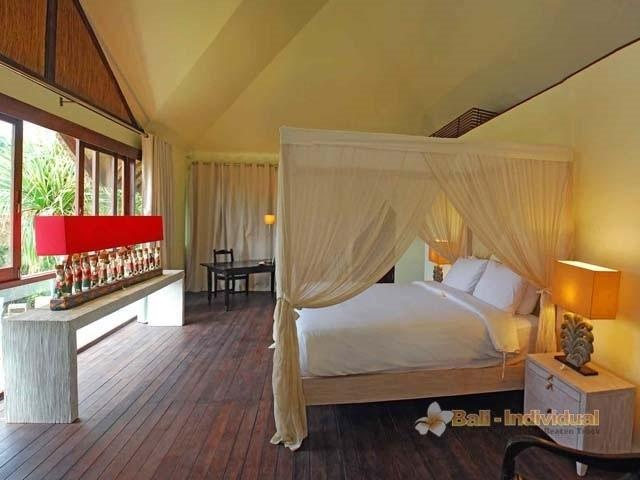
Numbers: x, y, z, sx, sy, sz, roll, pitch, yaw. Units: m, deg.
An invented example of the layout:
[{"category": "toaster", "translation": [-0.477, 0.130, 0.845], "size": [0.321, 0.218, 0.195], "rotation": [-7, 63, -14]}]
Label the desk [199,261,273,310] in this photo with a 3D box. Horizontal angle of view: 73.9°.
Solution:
[{"category": "desk", "translation": [-1.306, 0.716, 6.949], "size": [1.035, 0.695, 0.833], "rotation": [-1, 3, -17]}]

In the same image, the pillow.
[{"category": "pillow", "translation": [1.863, 0.473, 4.663], "size": [0.467, 0.473, 1.288], "rotation": [-4, 11, -17]}]

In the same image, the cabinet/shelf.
[{"category": "cabinet/shelf", "translation": [2.306, 1.398, 4.002], "size": [0.650, 0.982, 1.100], "rotation": [1, 0, -1]}]

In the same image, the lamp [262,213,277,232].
[{"category": "lamp", "translation": [-0.958, -0.343, 8.013], "size": [0.218, 0.334, 0.266], "rotation": [-1, 4, -10]}]

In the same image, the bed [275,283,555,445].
[{"category": "bed", "translation": [0.472, 0.778, 4.281], "size": [1.626, 1.182, 1.751], "rotation": [-3, 2, -5]}]
